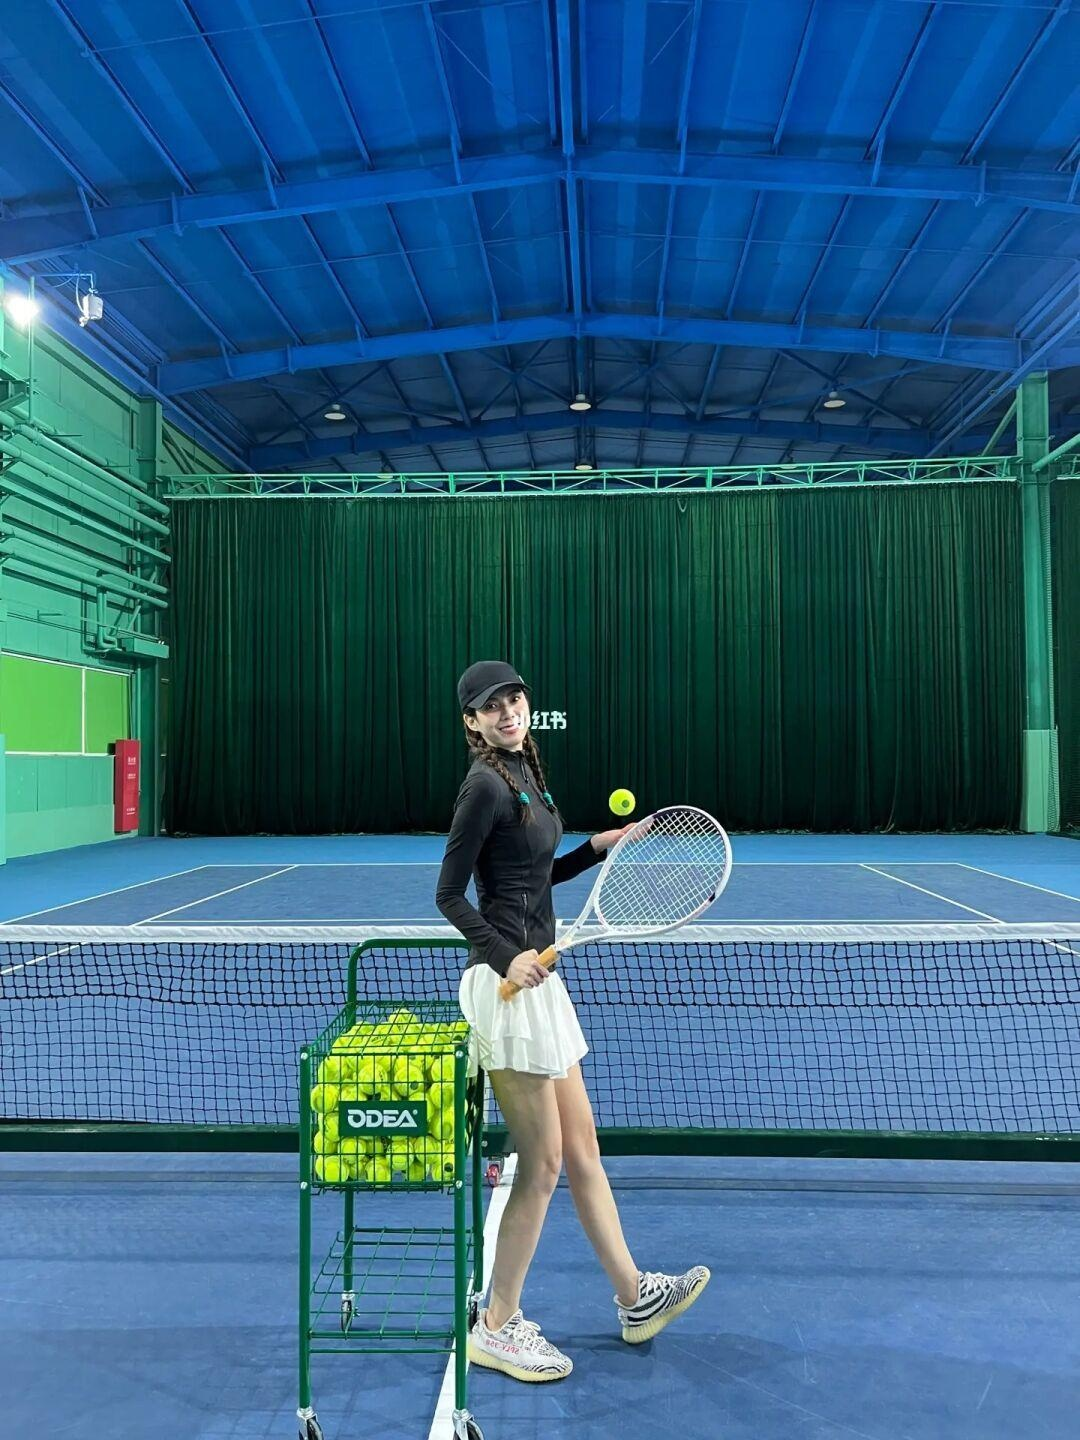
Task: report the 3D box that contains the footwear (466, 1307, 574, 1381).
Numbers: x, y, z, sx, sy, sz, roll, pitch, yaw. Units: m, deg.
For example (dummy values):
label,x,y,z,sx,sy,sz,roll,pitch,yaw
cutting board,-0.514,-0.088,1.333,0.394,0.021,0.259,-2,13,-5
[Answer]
label,x,y,z,sx,sy,sz,roll,pitch,yaw
footwear,-0.057,1.425,2.491,0.260,0.127,0.112,-6,-19,25

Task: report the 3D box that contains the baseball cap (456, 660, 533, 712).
label,x,y,z,sx,sy,sz,roll,pitch,yaw
baseball cap,-0.124,-0.084,2.481,0.106,0.079,0.144,-16,-12,-22

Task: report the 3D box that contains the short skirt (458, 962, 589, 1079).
label,x,y,z,sx,sy,sz,roll,pitch,yaw
short skirt,-0.044,0.669,2.399,0.275,0.266,0.207,-1,-1,-4

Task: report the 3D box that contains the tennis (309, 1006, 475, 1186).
label,x,y,z,sx,sy,sz,roll,pitch,yaw
tennis,-0.318,0.803,2.315,0.313,0.271,0.359,-1,-1,-3

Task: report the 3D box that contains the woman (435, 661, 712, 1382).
label,x,y,z,sx,sy,sz,roll,pitch,yaw
woman,0.056,0.647,2.508,0.702,1.588,0.410,-1,-4,-23
